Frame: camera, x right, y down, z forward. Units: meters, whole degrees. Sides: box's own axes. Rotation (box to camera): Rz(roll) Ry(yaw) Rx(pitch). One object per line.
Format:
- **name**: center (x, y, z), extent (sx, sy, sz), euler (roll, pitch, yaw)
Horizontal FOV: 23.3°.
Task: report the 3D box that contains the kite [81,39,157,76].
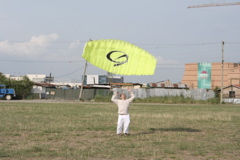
- **kite**: center (0.021, -2.016, 51.447), extent (5.833, 2.947, 0.772), euler (14, -9, 0)
